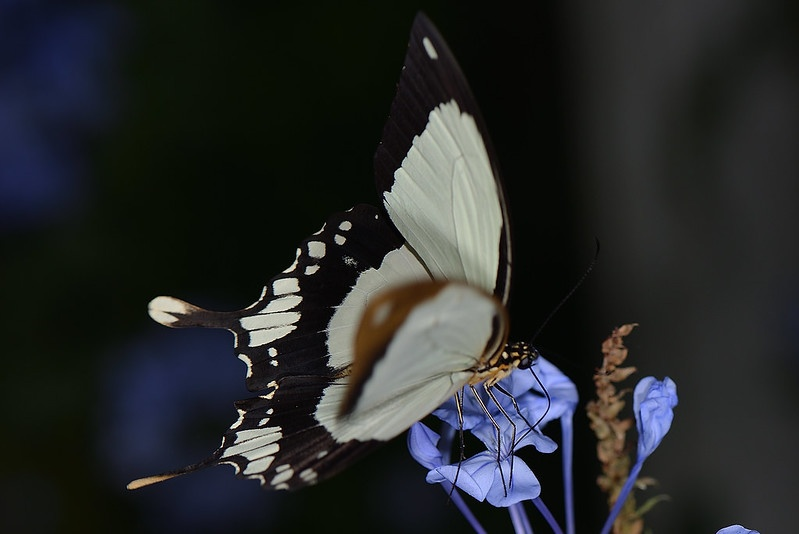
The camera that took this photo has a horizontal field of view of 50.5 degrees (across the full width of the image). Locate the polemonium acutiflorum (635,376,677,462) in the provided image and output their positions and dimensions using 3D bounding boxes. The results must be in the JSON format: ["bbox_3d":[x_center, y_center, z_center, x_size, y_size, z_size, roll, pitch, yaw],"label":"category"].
[{"bbox_3d":[0.462,0.269,1.530,0.074,0.143,0.109,3,20,9],"label":"polemonium acutiflorum"}]
